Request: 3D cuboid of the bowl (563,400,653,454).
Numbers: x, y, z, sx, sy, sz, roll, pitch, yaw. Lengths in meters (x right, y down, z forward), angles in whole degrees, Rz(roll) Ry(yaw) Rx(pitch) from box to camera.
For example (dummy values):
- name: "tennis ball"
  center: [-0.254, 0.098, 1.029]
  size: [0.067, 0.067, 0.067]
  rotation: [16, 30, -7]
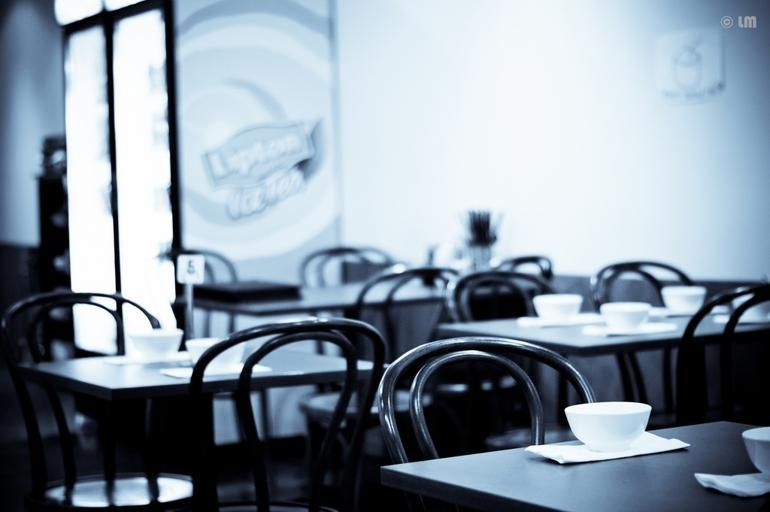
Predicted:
- name: "bowl"
  center: [0.370, 0.277, 1.332]
  size: [0.093, 0.046, 0.097]
  rotation: [-2, -9, 0]
